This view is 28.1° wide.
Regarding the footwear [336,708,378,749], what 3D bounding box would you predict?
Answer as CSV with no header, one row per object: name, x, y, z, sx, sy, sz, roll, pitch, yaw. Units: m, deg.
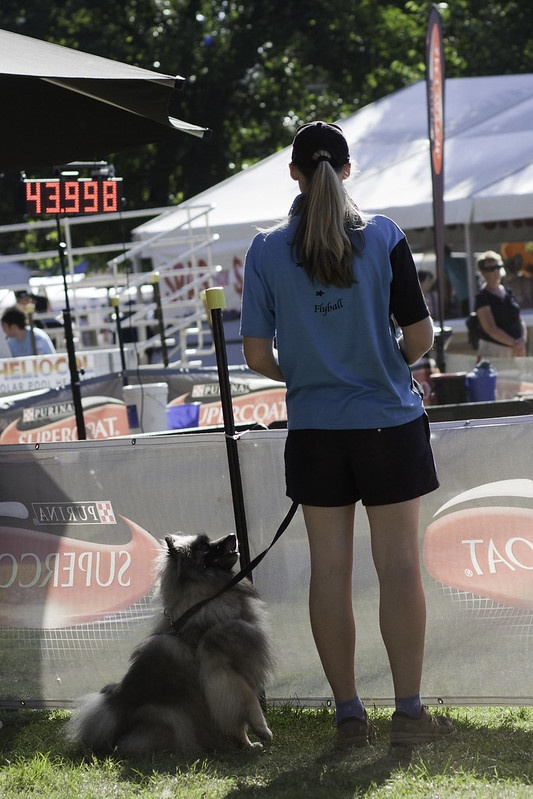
footwear,0.295,1.092,3.530,0.131,0.111,0.152,-6,6,3

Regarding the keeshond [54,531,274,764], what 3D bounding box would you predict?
keeshond,-0.305,0.857,3.717,0.741,0.745,0.492,-6,-4,8

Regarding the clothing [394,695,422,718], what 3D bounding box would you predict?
clothing,0.465,0.996,3.446,0.047,0.064,0.098,0,7,34

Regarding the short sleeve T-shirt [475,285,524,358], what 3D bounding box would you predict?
short sleeve T-shirt,2.247,-0.832,10.192,0.573,0.531,0.312,-7,-4,-38

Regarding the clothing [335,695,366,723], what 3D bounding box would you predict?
clothing,0.279,1.021,3.501,0.060,0.077,0.117,-5,8,15

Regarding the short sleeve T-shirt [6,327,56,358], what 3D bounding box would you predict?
short sleeve T-shirt,-2.201,-0.527,9.794,0.382,0.298,0.125,5,19,24

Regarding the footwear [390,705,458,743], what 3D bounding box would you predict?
footwear,0.514,1.064,3.533,0.236,0.103,0.091,-1,-1,-32
